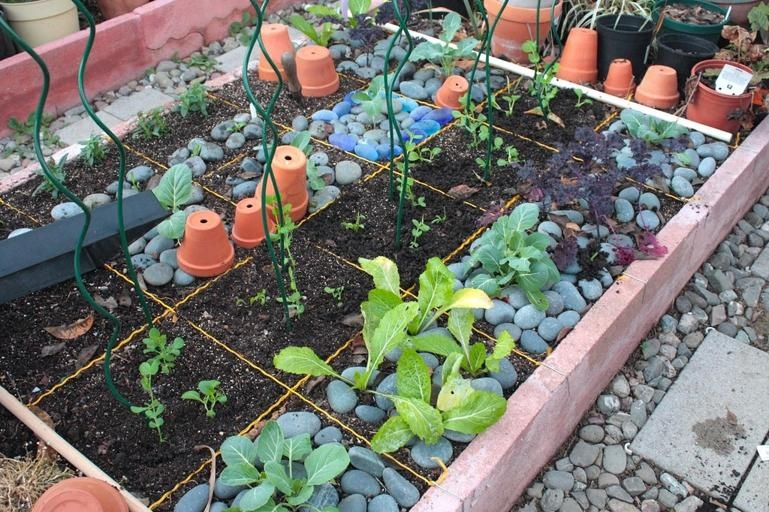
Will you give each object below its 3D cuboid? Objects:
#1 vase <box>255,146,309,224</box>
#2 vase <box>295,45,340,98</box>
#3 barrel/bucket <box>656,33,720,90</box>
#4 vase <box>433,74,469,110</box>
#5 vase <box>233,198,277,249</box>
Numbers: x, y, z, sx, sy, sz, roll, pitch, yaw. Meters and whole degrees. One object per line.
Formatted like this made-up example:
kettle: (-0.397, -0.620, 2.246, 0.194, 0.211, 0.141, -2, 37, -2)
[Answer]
vase: (-0.541, -0.383, 3.157, 0.274, 0.300, 0.288, 33, 47, 3)
vase: (-0.465, -1.327, 4.123, 0.299, 0.225, 0.314, -3, 54, -7)
barrel/bucket: (2.138, -1.441, 4.220, 0.413, 0.319, 0.436, 1, 39, -1)
vase: (0.466, -1.142, 4.012, 0.209, 0.149, 0.314, 15, 54, 6)
vase: (-0.762, -0.189, 3.219, 0.188, 0.206, 0.208, -11, 55, -12)
